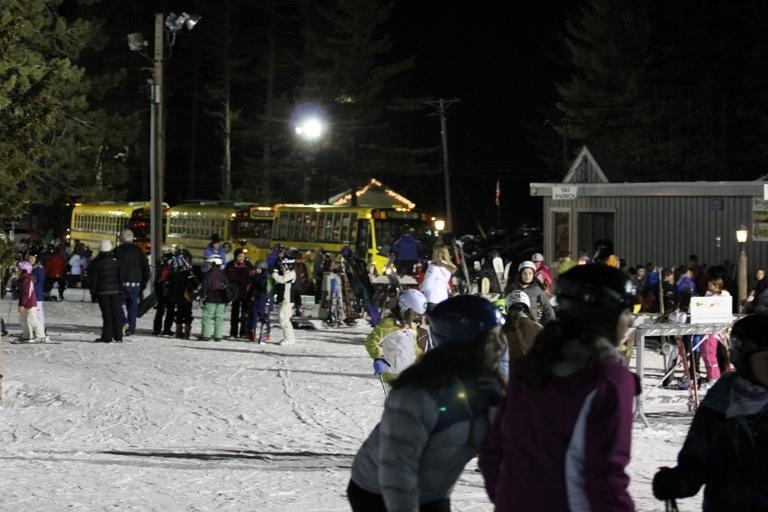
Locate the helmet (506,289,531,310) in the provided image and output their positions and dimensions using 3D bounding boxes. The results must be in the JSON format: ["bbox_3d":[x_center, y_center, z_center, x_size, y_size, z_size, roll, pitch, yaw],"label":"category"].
[{"bbox_3d":[1.485,0.476,8.868,0.188,0.237,0.225,1,-2,2],"label":"helmet"}]

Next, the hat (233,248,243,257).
[{"bbox_3d":[-3.353,-0.088,18.750,0.196,0.251,0.224,5,-1,-32],"label":"hat"}]

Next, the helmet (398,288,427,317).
[{"bbox_3d":[0.331,0.520,9.133,0.308,0.277,0.240,-4,21,-19],"label":"helmet"}]

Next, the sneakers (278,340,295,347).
[{"bbox_3d":[-2.136,1.937,17.782,0.305,0.137,0.119,6,0,-12],"label":"sneakers"}]

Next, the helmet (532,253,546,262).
[{"bbox_3d":[3.306,0.044,17.289,0.272,0.224,0.391,-1,-1,16],"label":"helmet"}]

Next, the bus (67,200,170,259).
[{"bbox_3d":[-14.608,-1.219,43.817,2.770,3.436,7.339,1,4,-44],"label":"bus"}]

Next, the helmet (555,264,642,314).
[{"bbox_3d":[1.146,0.162,4.316,0.433,0.242,0.232,1,2,12],"label":"helmet"}]

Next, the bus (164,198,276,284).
[{"bbox_3d":[-7.732,-1.005,38.576,2.856,2.967,8.469,1,2,-37],"label":"bus"}]

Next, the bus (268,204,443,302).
[{"bbox_3d":[-1.543,-0.351,33.708,3.291,3.633,8.686,3,1,-37],"label":"bus"}]
